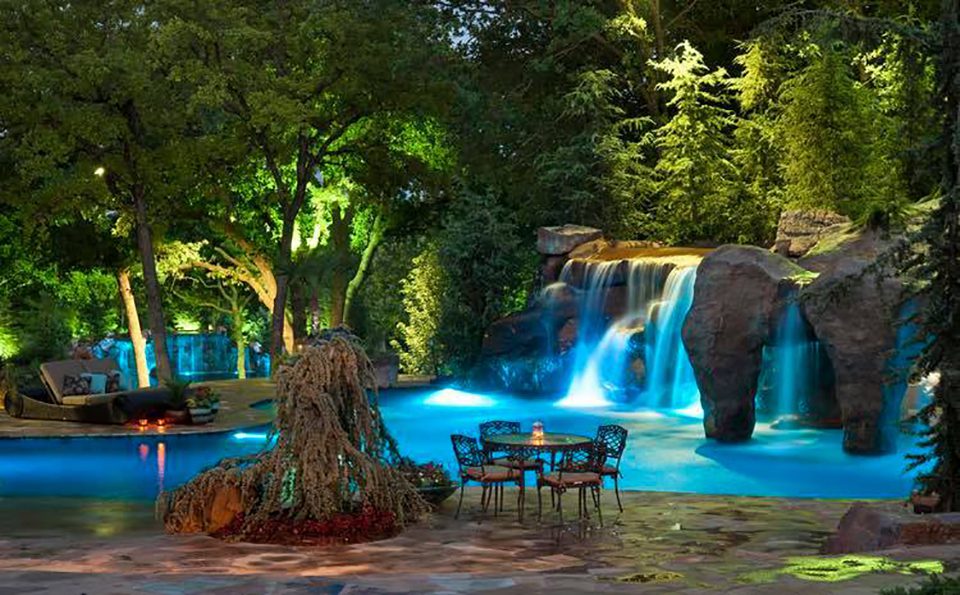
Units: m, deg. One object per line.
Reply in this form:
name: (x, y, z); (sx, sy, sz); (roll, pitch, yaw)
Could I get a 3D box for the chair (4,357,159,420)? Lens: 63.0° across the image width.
chair: (-11.975, 3.141, 24.348); (3.382, 1.220, 2.642); (-2, -3, 26)

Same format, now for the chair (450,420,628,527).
chair: (1.229, 3.484, 15.747); (2.984, 1.656, 2.546); (0, 1, 28)
